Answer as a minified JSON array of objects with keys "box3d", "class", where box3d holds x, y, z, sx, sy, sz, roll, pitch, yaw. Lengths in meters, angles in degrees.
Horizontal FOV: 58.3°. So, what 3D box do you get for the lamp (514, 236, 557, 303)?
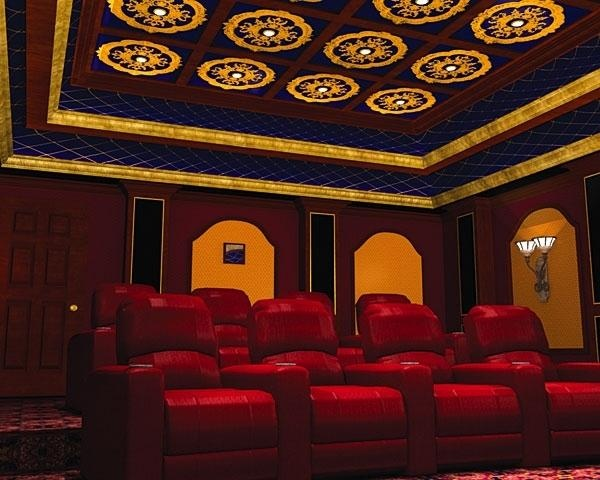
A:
[{"box3d":[3.228,0.400,7.358,0.396,1.075,0.779,7,-13,-9],"class":"lamp"}]
